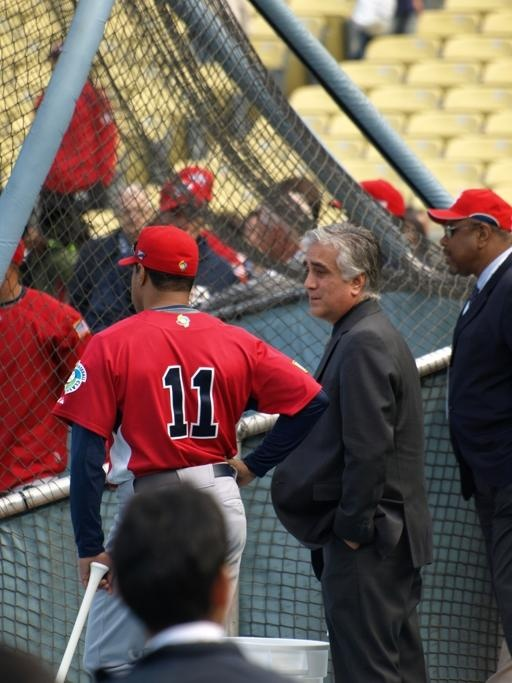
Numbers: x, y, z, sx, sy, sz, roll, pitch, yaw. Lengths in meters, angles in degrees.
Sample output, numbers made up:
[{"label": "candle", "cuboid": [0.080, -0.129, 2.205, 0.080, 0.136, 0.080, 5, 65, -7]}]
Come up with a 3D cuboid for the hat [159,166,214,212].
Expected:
[{"label": "hat", "cuboid": [-0.252, -0.578, 4.206, 0.207, 0.102, 0.138, -9, 26, 22]}]

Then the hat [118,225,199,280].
[{"label": "hat", "cuboid": [-0.270, -0.247, 3.052, 0.185, 0.099, 0.126, 11, 9, 40]}]

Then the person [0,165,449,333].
[{"label": "person", "cuboid": [-0.100, -0.318, 4.294, 1.137, 0.289, 0.734, -7, 62, -9]}]

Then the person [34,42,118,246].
[{"label": "person", "cuboid": [-0.601, -0.808, 4.260, 0.198, 0.496, 0.871, 27, 13, -7]}]

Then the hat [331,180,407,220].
[{"label": "hat", "cuboid": [0.452, -0.574, 4.506, 0.209, 0.166, 0.211, -27, 32, -1]}]
